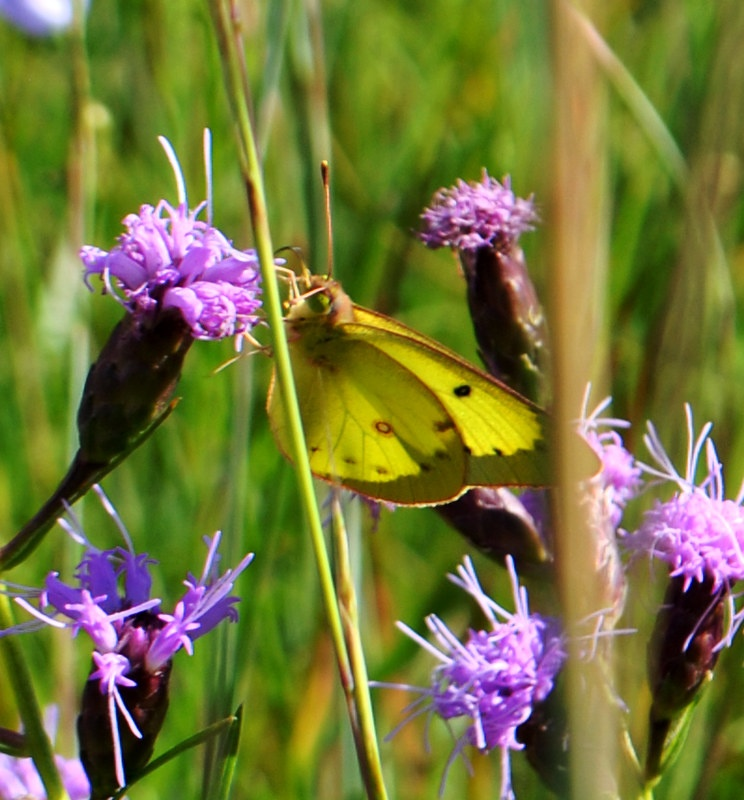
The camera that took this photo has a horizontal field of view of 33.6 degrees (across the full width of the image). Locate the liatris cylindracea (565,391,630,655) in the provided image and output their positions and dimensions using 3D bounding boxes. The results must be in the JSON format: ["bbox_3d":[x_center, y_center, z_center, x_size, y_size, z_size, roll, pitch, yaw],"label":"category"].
[{"bbox_3d":[0.270,0.127,1.413,0.064,0.225,0.054,18,42,37],"label":"liatris cylindracea"}]

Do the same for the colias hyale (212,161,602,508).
[{"bbox_3d":[0.034,-0.016,1.720,0.528,0.406,0.239,34,-6,13],"label":"colias hyale"}]
